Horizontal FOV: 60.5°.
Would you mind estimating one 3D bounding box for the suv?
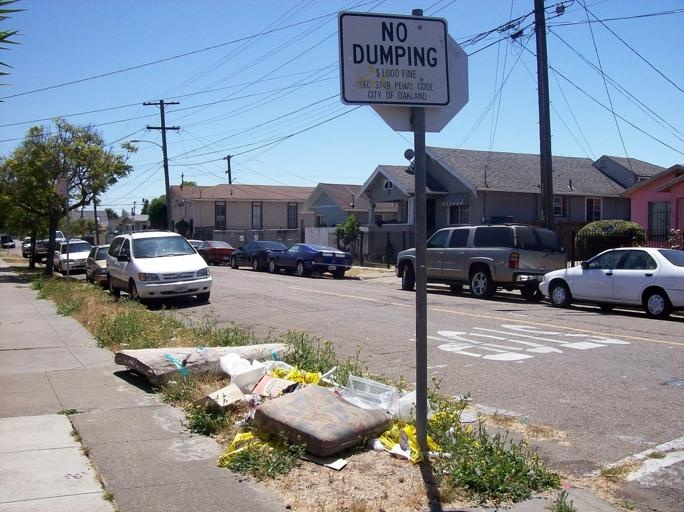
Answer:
[{"bbox_3d":[4.283,-0.370,19.496,2.681,2.269,5.405,0,4,-34],"label":"suv"}]

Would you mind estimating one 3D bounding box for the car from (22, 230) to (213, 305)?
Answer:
[{"bbox_3d":[-5.425,0.299,17.616,2.154,2.067,3.231,0,2,-37],"label":"car"}]
